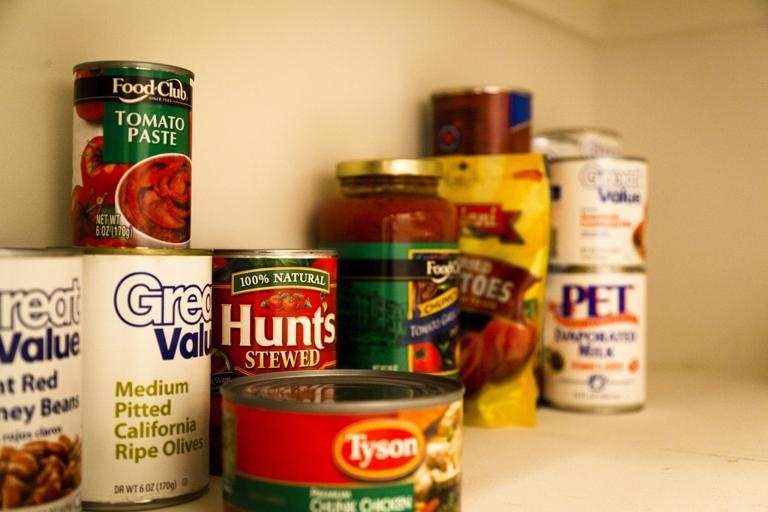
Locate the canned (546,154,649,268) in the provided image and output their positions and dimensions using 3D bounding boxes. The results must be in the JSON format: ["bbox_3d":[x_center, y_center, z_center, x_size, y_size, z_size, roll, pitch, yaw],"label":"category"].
[{"bbox_3d":[0.369,-0.083,1.416,0.185,0.195,0.187,0,3,41],"label":"canned"}]

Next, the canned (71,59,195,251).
[{"bbox_3d":[-0.307,-0.123,0.947,0.138,0.222,0.065,-1,7,-19],"label":"canned"}]

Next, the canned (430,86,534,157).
[{"bbox_3d":[0.163,-0.223,1.336,0.129,0.089,0.128,0,1,24],"label":"canned"}]
